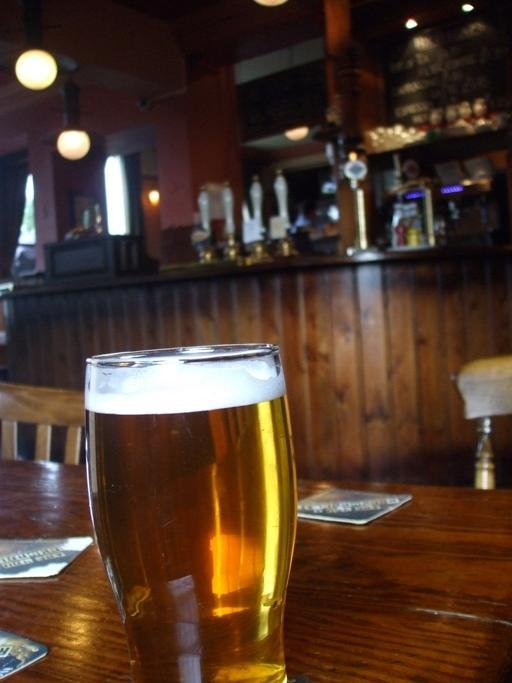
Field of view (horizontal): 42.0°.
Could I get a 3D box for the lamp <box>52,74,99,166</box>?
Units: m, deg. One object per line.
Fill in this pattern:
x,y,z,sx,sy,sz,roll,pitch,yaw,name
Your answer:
-1.584,-1.909,5.709,0.366,0.670,0.364,4,15,16,lamp
